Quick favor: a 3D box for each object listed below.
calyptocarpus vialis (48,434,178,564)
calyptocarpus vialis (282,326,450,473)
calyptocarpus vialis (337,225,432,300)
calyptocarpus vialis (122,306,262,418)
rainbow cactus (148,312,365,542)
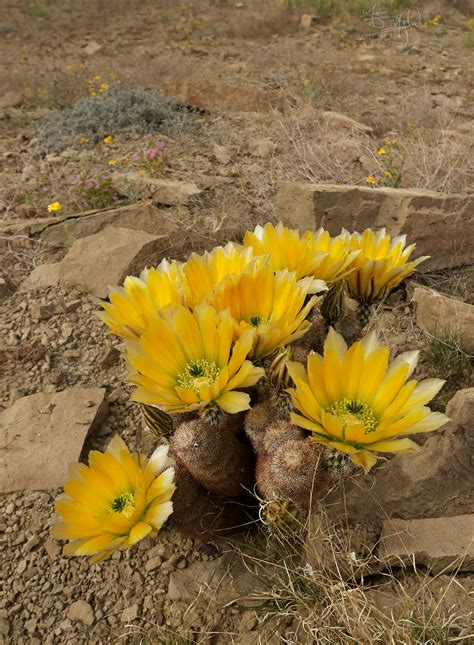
[{"bbox_3d":[-0.340,0.518,1.813,0.359,0.145,0.348,-35,29,-8],"label":"calyptocarpus vialis"},{"bbox_3d":[0.344,0.207,1.690,0.407,0.273,0.322,-4,30,3],"label":"calyptocarpus vialis"},{"bbox_3d":[0.486,-0.173,2.170,0.282,0.175,0.275,0,37,2],"label":"calyptocarpus vialis"},{"bbox_3d":[-0.106,0.136,1.728,0.336,0.159,0.348,18,56,39],"label":"calyptocarpus vialis"},{"bbox_3d":[0.052,0.305,1.837,0.429,0.552,0.514,44,47,17],"label":"rainbow cactus"}]
